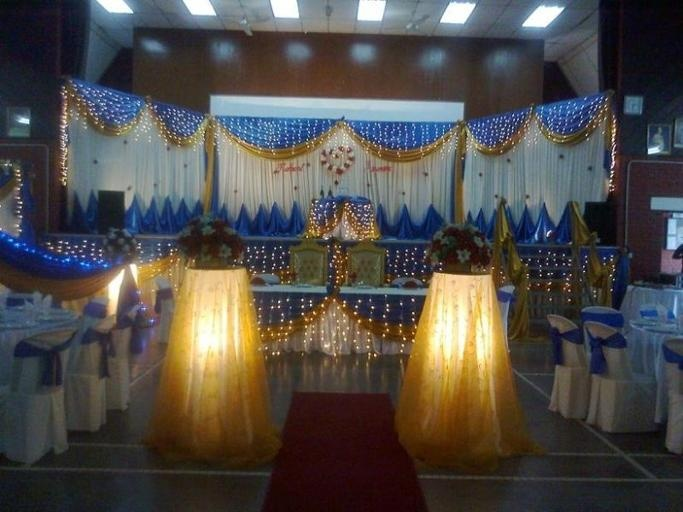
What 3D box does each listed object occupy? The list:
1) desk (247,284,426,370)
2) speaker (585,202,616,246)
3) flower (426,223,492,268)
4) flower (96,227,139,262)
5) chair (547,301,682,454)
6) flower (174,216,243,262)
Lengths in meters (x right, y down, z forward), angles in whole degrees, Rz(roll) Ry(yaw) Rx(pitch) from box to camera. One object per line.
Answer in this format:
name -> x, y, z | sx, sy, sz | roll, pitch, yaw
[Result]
desk -> -0.071, 0.964, 8.103 | 2.322, 0.865, 0.259 | 2, -1, -2
speaker -> 4.873, -0.639, 10.668 | 0.591, 0.843, 0.208 | 2, -1, -9
flower -> 1.202, -0.089, 5.666 | 0.466, 0.390, 0.444 | -3, 5, -27
flower -> -2.667, -0.125, 6.818 | 0.340, 0.462, 0.388 | -1, 0, 4
chair -> 3.051, 1.330, 6.610 | 1.138, 1.435, 1.132 | -2, 4, -30
flower -> -1.292, -0.108, 5.626 | 0.461, 0.531, 0.455 | 2, 0, -42
